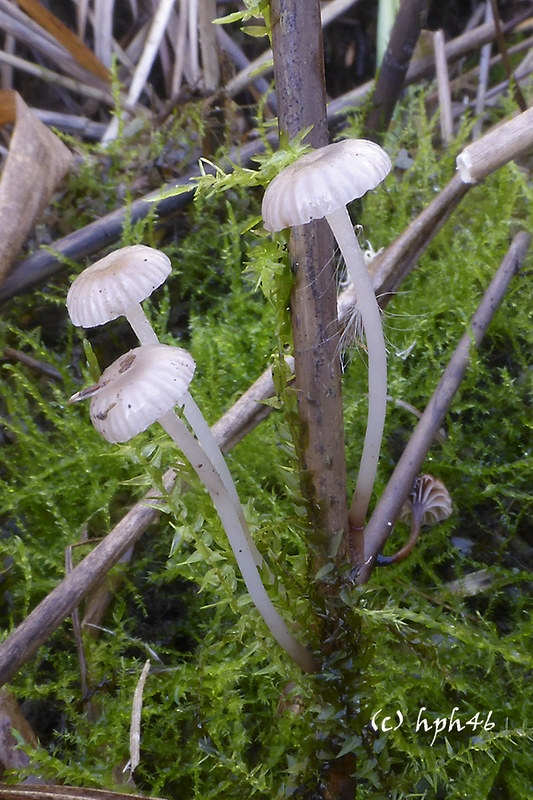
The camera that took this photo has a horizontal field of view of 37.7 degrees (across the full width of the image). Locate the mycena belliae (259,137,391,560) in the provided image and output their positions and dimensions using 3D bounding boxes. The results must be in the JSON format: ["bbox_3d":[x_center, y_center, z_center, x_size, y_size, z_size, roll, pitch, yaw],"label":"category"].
[{"bbox_3d":[0.111,-0.060,1.086,0.142,0.558,0.306,2,44,20],"label":"mycena belliae"}]

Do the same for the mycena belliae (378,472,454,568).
[{"bbox_3d":[0.254,0.210,1.332,0.111,0.089,0.159,-31,18,36],"label":"mycena belliae"}]
